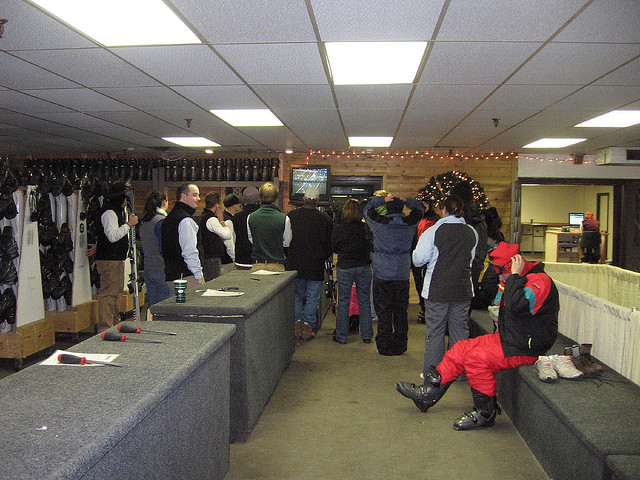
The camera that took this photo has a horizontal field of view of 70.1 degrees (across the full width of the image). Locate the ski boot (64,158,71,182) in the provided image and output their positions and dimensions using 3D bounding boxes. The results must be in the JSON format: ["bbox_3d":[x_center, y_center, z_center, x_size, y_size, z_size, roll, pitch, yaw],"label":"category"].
[{"bbox_3d":[-5.385,-1.594,9.738,0.127,0.283,0.359,-3,6,-27],"label":"ski boot"}]

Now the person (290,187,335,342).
[{"bbox_3d":[-0.114,0.351,6.060,0.565,2.049,0.379,0,6,-4],"label":"person"}]

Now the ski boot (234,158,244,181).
[{"bbox_3d":[-1.708,-1.467,9.554,0.174,0.453,0.194,0,8,-3],"label":"ski boot"}]

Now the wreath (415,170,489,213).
[{"bbox_3d":[2.419,-0.979,8.427,1.342,1.152,0.332,3,6,19],"label":"wreath"}]

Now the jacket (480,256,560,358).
[{"bbox_3d":[1.578,0.520,3.694,0.582,0.790,0.478,8,9,4],"label":"jacket"}]

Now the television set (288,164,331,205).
[{"bbox_3d":[-0.189,-1.045,8.484,0.736,0.699,0.267,0,6,-3],"label":"television set"}]

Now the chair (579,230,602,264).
[{"bbox_3d":[7.375,0.151,12.454,0.462,0.861,1.327,4,7,32],"label":"chair"}]

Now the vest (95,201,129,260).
[{"bbox_3d":[-2.790,-0.123,6.109,0.397,0.754,0.335,-2,7,-23],"label":"vest"}]

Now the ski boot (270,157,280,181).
[{"bbox_3d":[-0.955,-1.489,9.636,0.214,0.481,0.109,-3,7,-30],"label":"ski boot"}]

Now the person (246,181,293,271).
[{"bbox_3d":[-0.621,-0.171,5.639,0.541,1.047,0.385,0,6,-9],"label":"person"}]

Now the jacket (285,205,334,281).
[{"bbox_3d":[-0.229,0.226,6.200,0.734,1.597,0.539,3,1,1],"label":"jacket"}]

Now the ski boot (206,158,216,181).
[{"bbox_3d":[-2.289,-1.490,9.613,0.157,0.404,0.271,0,8,-6],"label":"ski boot"}]

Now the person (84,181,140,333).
[{"bbox_3d":[-2.745,0.259,6.143,0.531,2.050,0.492,-2,7,-19],"label":"person"}]

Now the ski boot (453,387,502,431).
[{"bbox_3d":[1.307,1.391,3.826,0.344,0.411,0.187,2,6,10],"label":"ski boot"}]

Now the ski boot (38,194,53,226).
[{"bbox_3d":[-3.398,-0.383,5.654,0.123,0.295,0.321,0,1,-8],"label":"ski boot"}]

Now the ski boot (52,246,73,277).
[{"bbox_3d":[-3.384,0.268,5.991,0.103,0.307,0.331,10,17,12],"label":"ski boot"}]

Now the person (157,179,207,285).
[{"bbox_3d":[-1.734,-0.012,5.796,0.559,1.351,3.293,-1,5,-14],"label":"person"}]

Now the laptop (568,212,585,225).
[{"bbox_3d":[9.039,-0.745,16.090,0.754,0.468,0.543,0,-4,12],"label":"laptop"}]

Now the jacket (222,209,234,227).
[{"bbox_3d":[-1.394,-0.361,6.924,0.158,0.173,0.135,7,7,-12],"label":"jacket"}]

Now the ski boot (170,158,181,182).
[{"bbox_3d":[-3.070,-1.477,9.666,0.204,0.497,0.093,-1,6,-14],"label":"ski boot"}]

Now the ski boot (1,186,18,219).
[{"bbox_3d":[-3.478,-0.416,5.110,0.122,0.362,0.210,-3,7,-28],"label":"ski boot"}]

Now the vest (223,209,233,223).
[{"bbox_3d":[-1.413,-0.372,6.944,0.216,0.196,0.155,2,6,-14],"label":"vest"}]

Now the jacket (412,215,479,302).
[{"bbox_3d":[1.261,0.179,4.589,0.635,0.861,0.244,1,6,6],"label":"jacket"}]

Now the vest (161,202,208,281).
[{"bbox_3d":[-1.541,-0.030,4.948,0.335,0.639,0.623,-5,7,-42],"label":"vest"}]

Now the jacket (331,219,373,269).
[{"bbox_3d":[0.418,0.045,5.862,0.787,0.736,0.453,-1,5,-2],"label":"jacket"}]

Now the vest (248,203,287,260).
[{"bbox_3d":[-0.623,-0.064,5.716,0.538,0.725,0.315,3,3,14],"label":"vest"}]

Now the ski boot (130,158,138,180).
[{"bbox_3d":[-3.960,-1.498,9.713,0.141,0.419,0.085,0,6,-9],"label":"ski boot"}]
